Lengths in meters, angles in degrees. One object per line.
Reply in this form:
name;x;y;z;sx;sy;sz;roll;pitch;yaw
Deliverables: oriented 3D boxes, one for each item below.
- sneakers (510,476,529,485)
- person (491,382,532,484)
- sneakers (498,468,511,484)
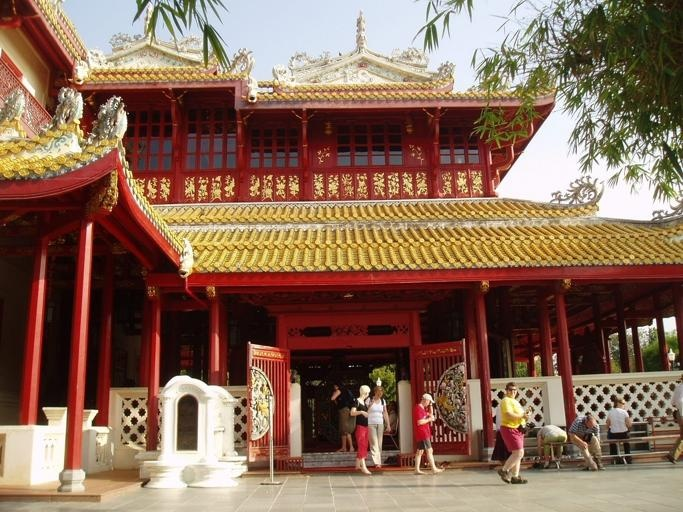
sneakers;2.748;3.429;9.009;0.237;0.092;0.120;0;-3;2
person;2.663;2.754;9.171;0.484;1.498;0.491;-7;-18;13
sneakers;2.537;3.386;9.047;0.174;0.211;0.255;-7;-18;13
